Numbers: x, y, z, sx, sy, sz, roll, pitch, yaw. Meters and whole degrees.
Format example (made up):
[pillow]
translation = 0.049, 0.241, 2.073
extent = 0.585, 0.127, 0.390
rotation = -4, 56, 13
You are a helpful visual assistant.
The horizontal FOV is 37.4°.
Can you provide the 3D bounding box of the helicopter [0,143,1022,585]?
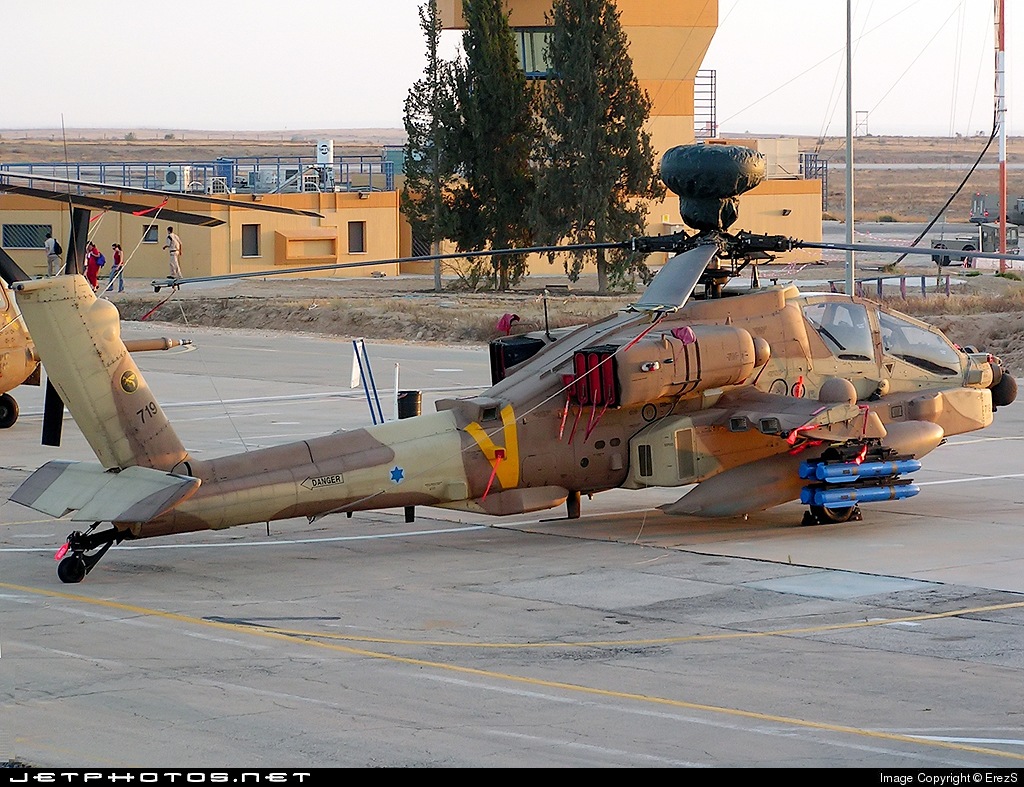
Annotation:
[helicopter]
translation = 0.187, 0.264, 19.613
extent = 11.620, 2.771, 6.420
rotation = -5, 13, -21
